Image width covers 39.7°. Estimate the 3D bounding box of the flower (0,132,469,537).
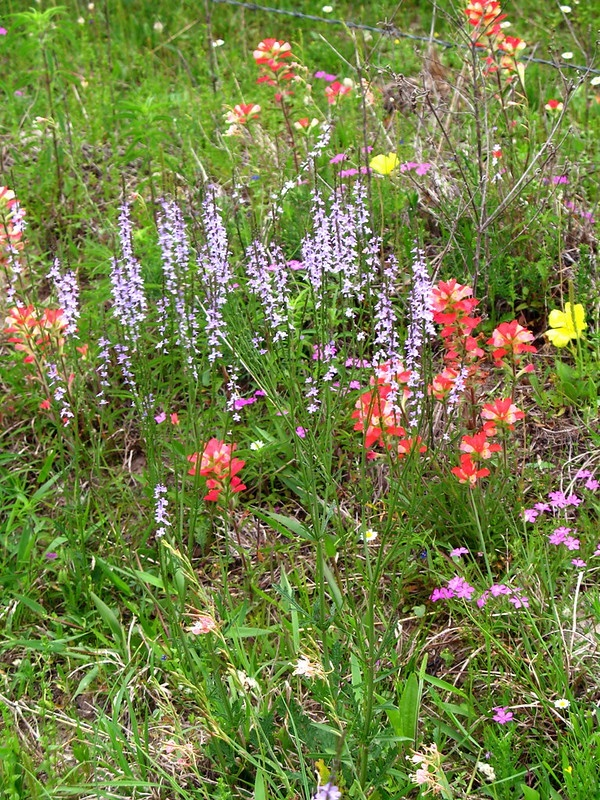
[{"bbox_3d":[-0.225,-0.200,3.001,1.715,1.069,1.279,2,26,8],"label":"flower"}]
